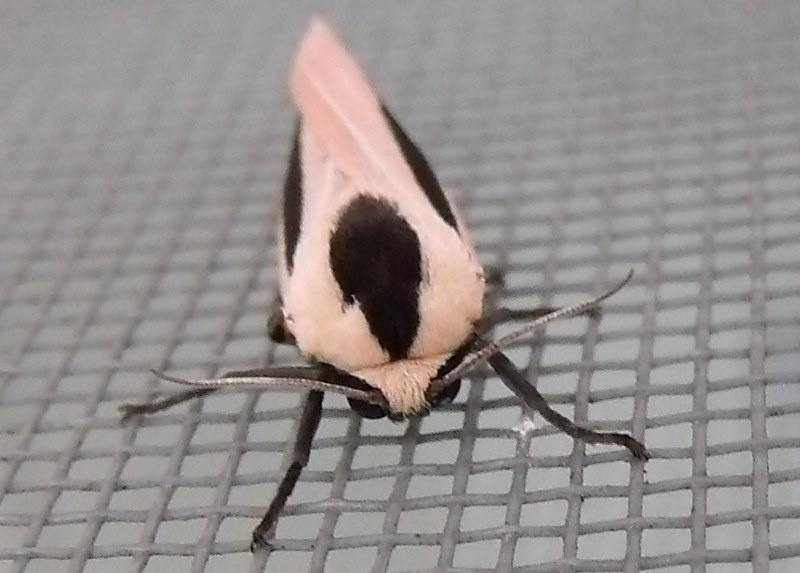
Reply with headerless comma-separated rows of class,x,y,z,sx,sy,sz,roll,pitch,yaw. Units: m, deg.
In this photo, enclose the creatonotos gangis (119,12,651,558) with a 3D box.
creatonotos gangis,-0.021,0.028,1.730,0.640,0.525,0.642,34,68,20
